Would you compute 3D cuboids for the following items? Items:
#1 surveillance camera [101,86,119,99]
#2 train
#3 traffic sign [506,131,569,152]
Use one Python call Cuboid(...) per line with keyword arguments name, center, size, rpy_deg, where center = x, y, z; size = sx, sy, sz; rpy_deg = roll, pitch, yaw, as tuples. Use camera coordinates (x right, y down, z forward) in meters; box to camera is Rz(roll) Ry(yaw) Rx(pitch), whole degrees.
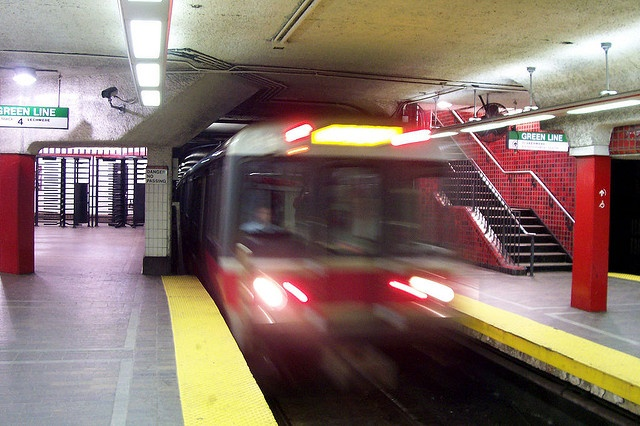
Cuboid(name="surveillance camera", center=(-4.696, -2.656, 9.905), size=(0.353, 0.086, 0.378), rpy_deg=(-18, -7, 27))
Cuboid(name="train", center=(-1.303, 0.198, 11.597), size=(4.035, 3.975, 11.324), rpy_deg=(1, 2, -22))
Cuboid(name="traffic sign", center=(5.815, -1.932, 11.708), size=(1.718, 0.499, 0.372), rpy_deg=(2, 10, -10))
